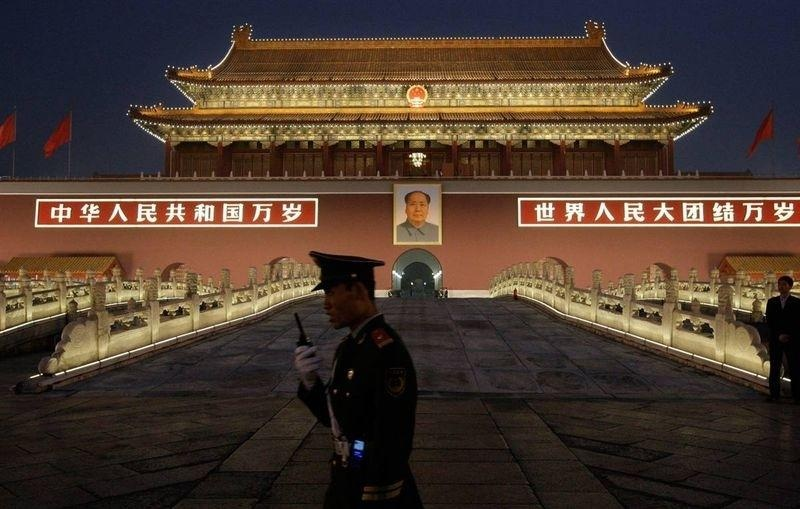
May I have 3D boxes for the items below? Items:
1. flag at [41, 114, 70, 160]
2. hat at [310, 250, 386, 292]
[{"bbox_3d":[-13.846,-4.935,26.279,0.729,1.605,1.016,3,-6,-40],"label":"flag"},{"bbox_3d":[-0.600,0.164,7.000,0.585,0.291,0.485,0,-4,-13],"label":"hat"}]
